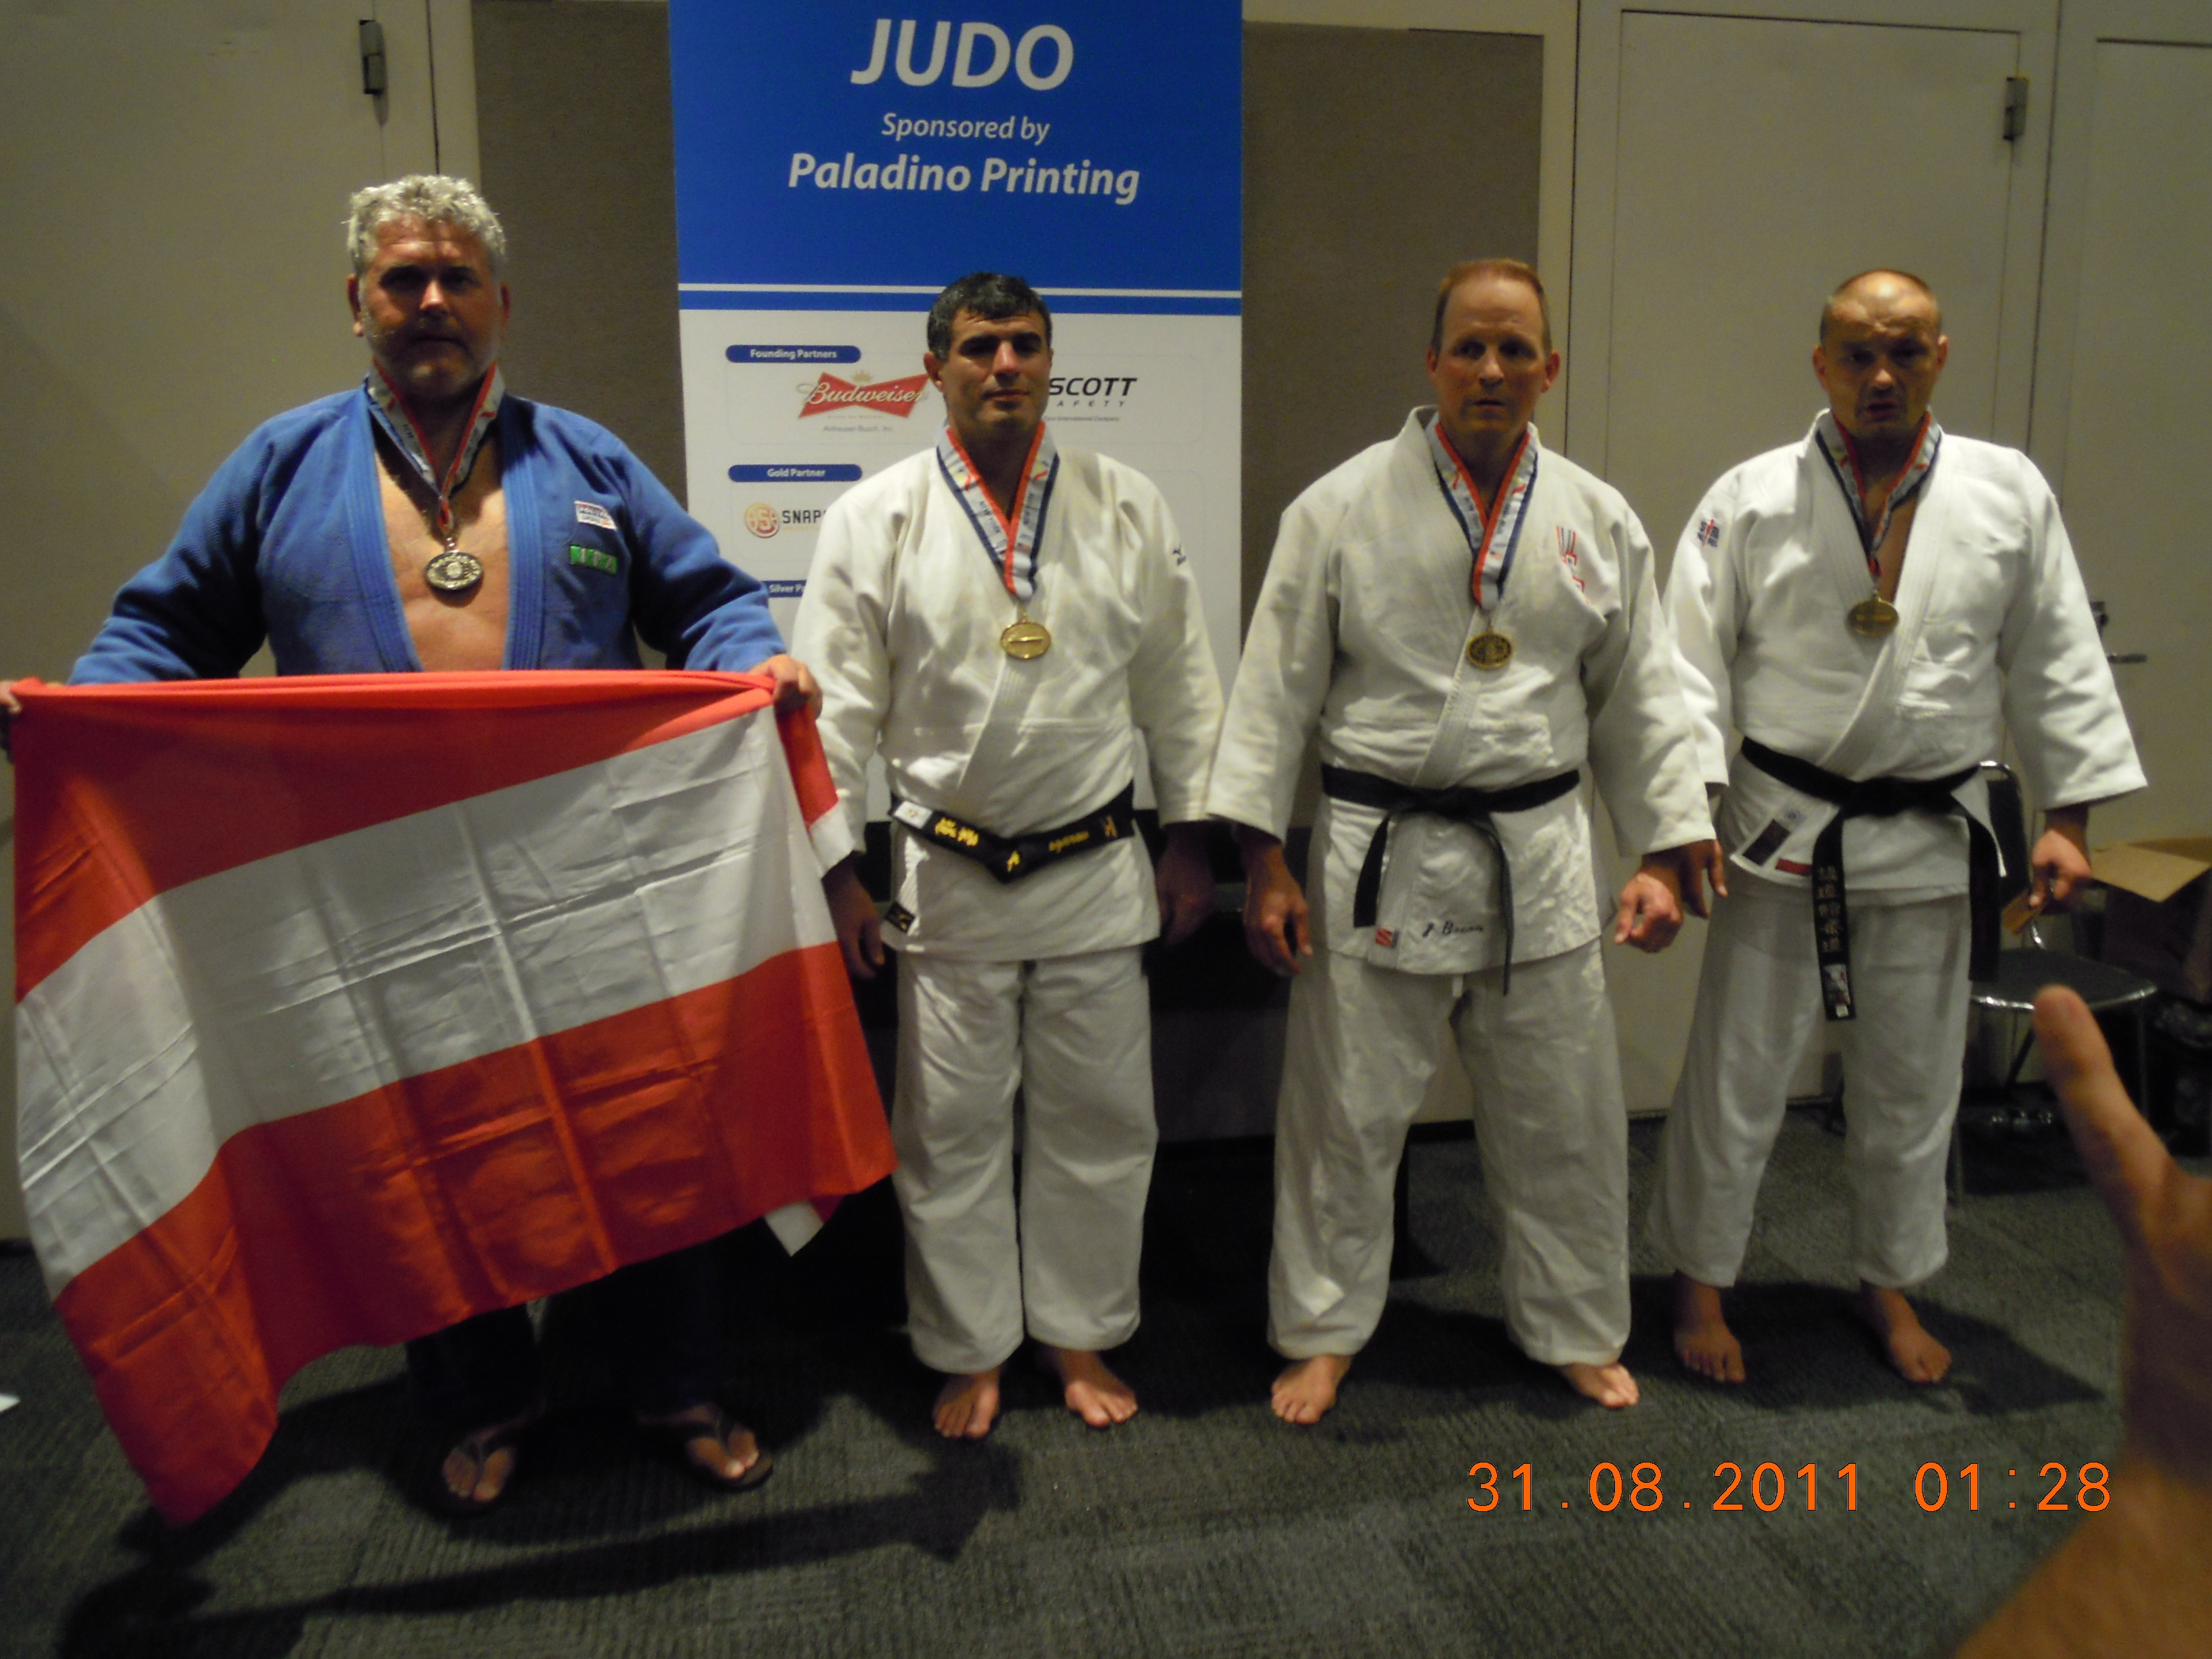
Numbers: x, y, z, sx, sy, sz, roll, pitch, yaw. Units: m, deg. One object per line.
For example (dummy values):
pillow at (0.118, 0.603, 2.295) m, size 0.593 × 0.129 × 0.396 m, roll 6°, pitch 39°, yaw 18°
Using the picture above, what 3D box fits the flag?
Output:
flag at (-1.052, 0.401, 2.706) m, size 1.169 × 1.216 × 0.164 m, roll -8°, pitch 12°, yaw -25°

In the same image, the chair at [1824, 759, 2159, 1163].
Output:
chair at (1.879, 0.279, 3.326) m, size 0.403 × 0.713 × 0.436 m, roll -8°, pitch 12°, yaw -32°

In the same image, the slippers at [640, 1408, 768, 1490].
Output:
slippers at (-0.695, 1.063, 2.985) m, size 0.210 × 0.062 × 0.108 m, roll 23°, pitch 18°, yaw 27°

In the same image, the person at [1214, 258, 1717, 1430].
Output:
person at (0.649, 0.047, 3.083) m, size 0.912 × 2.013 × 0.671 m, roll -3°, pitch 20°, yaw -1°
